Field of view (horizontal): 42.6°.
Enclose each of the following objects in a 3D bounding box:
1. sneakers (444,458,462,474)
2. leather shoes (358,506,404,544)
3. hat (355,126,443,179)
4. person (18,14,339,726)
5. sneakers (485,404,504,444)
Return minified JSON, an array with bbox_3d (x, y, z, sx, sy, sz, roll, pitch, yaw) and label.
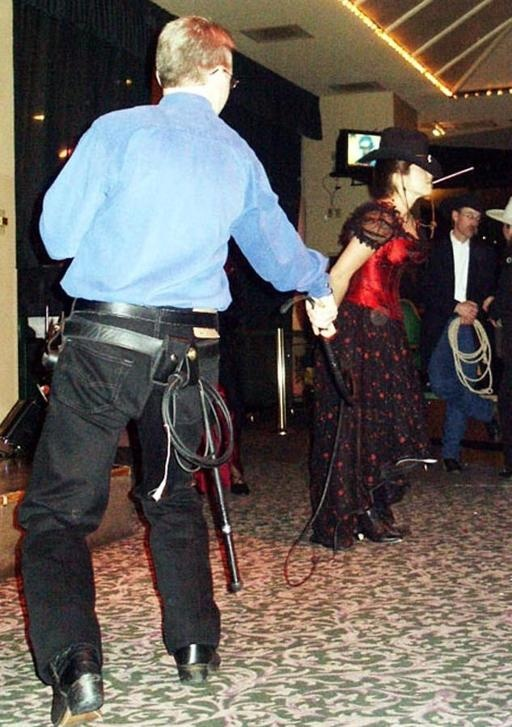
[{"bbox_3d":[1.229,0.640,4.110,0.062,0.045,0.110,5,-23,2],"label":"sneakers"},{"bbox_3d":[0.460,0.618,2.523,0.241,0.141,0.090,1,8,10],"label":"leather shoes"},{"bbox_3d":[0.523,-0.769,2.415,0.282,0.131,0.204,6,1,7],"label":"hat"},{"bbox_3d":[-0.186,-0.001,1.326,0.345,1.334,0.568,-2,-2,43],"label":"person"},{"bbox_3d":[1.490,0.365,4.099,0.106,0.282,0.212,-2,8,33],"label":"sneakers"}]
